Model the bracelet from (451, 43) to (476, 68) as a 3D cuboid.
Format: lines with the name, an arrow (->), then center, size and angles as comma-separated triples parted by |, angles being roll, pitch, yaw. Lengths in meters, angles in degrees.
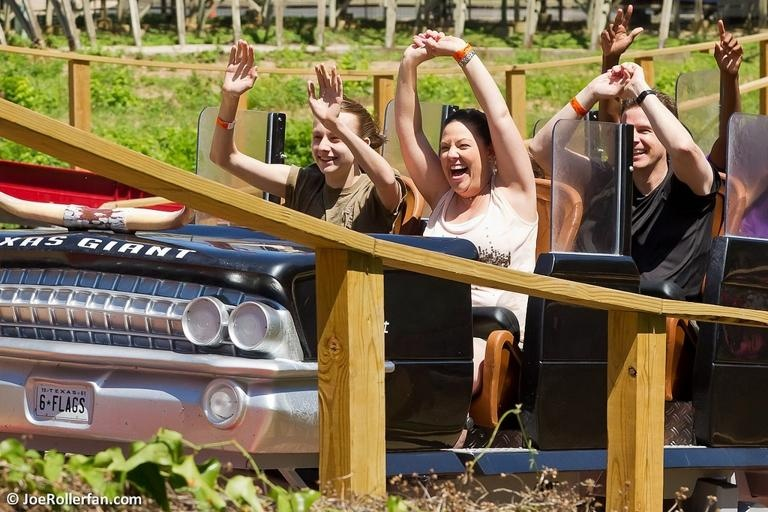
bracelet -> 0.500, -1.263, 9.173 | 0.134, 0.095, 0.135 | -36, 8, 18

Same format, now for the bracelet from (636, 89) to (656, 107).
bracelet -> 1.596, -0.955, 8.948 | 0.103, 0.037, 0.098 | -46, 4, -31

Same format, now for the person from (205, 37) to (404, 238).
person -> -0.504, -0.795, 9.391 | 0.644, 1.110, 1.317 | -13, 22, -40

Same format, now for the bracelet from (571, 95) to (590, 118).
bracelet -> 1.216, -0.927, 9.187 | 0.066, 0.114, 0.113 | -38, 0, -1
